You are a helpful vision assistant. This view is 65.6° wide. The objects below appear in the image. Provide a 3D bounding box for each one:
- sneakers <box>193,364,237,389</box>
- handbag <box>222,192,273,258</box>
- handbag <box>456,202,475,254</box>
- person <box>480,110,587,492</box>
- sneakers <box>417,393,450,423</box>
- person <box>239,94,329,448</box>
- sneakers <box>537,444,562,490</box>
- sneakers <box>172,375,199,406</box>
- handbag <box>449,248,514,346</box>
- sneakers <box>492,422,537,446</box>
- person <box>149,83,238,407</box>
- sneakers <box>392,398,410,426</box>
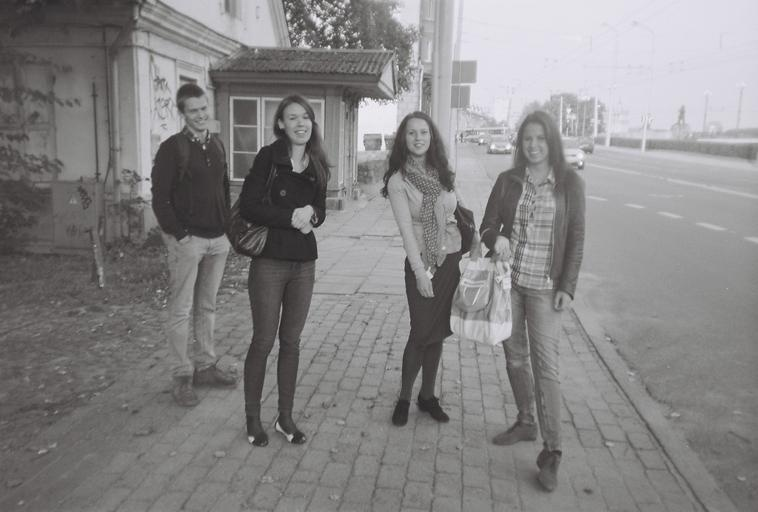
[{"bbox_3d":[-1.531,1.149,5.767,0.503,0.265,0.179,-1,8,-1],"label":"sneakers"},{"bbox_3d":[-1.072,-0.261,4.799,0.400,0.411,0.221,-37,-26,30],"label":"handbag"},{"bbox_3d":[0.741,-0.264,5.116,0.115,0.361,0.297,1,-3,-18],"label":"handbag"},{"bbox_3d":[1.288,0.258,4.701,0.609,2.732,1.006,-6,15,-29],"label":"person"},{"bbox_3d":[0.476,1.356,5.348,0.124,0.171,0.355,-8,15,-44],"label":"sneakers"},{"bbox_3d":[-0.766,0.105,4.856,0.809,2.772,0.621,-6,15,-29],"label":"person"},{"bbox_3d":[1.290,1.599,4.492,0.102,0.207,0.293,26,23,-22],"label":"sneakers"},{"bbox_3d":[-1.777,1.232,5.305,0.253,0.214,0.100,2,5,-2],"label":"sneakers"},{"bbox_3d":[0.861,0.298,4.882,0.399,0.790,0.557,1,3,-34],"label":"handbag"},{"bbox_3d":[1.158,1.490,5.022,0.450,0.207,0.161,-3,7,-7],"label":"sneakers"},{"bbox_3d":[-1.677,-0.127,5.403,0.712,2.814,0.599,-7,15,-33],"label":"person"},{"bbox_3d":[0.186,1.357,5.162,0.087,0.107,0.264,2,18,5],"label":"sneakers"}]
